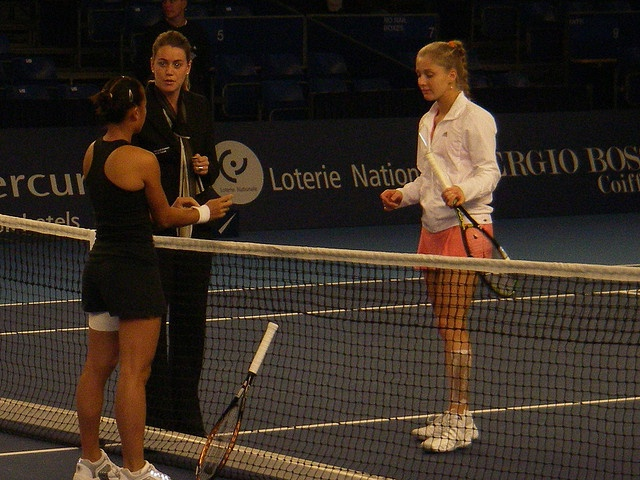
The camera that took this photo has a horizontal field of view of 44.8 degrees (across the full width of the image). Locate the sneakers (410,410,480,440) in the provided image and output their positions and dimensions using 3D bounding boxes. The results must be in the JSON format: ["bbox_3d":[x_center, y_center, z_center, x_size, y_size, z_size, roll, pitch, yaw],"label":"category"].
[{"bbox_3d":[0.816,1.273,5.322,0.540,0.248,0.195,0,4,-8],"label":"sneakers"}]
